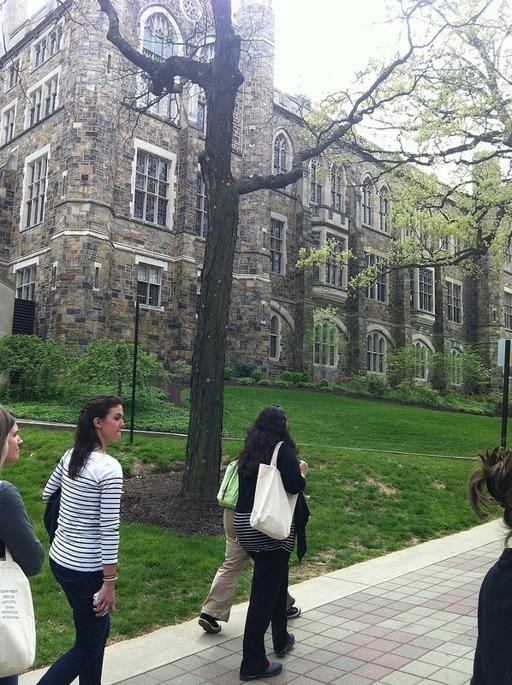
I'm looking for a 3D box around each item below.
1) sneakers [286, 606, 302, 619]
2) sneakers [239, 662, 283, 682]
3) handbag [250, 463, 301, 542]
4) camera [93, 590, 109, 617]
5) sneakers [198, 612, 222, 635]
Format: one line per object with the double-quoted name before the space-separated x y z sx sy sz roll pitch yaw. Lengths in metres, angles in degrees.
"sneakers" 0.310 2.190 5.900 0.162 0.084 0.058 -9 -9 36
"sneakers" 0.039 2.152 4.729 0.247 0.111 0.111 -3 -1 -13
"handbag" 0.114 1.060 4.877 0.129 0.418 0.343 -24 -50 35
"camera" -0.869 1.424 3.946 0.048 0.148 0.098 -11 5 -41
"sneakers" -0.358 2.144 5.579 0.092 0.109 0.234 -7 -49 26
